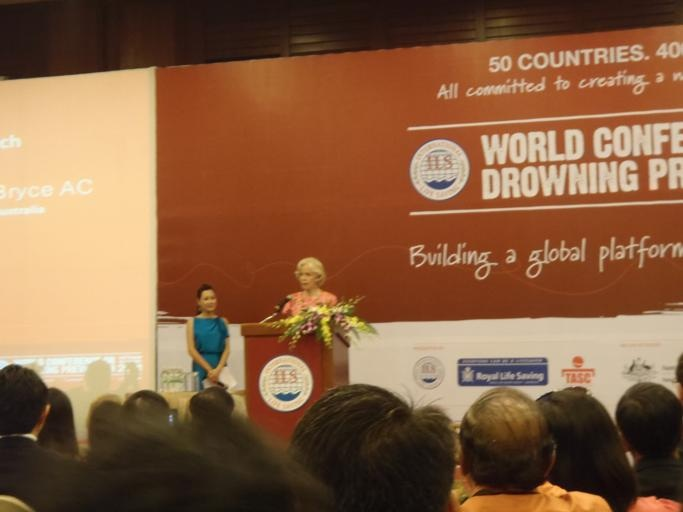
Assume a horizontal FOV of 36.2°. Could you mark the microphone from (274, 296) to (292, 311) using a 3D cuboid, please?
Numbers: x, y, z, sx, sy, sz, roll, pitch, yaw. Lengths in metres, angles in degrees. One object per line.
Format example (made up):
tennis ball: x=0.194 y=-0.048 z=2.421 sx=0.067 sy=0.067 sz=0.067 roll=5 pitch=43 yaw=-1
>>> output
microphone: x=-0.474 y=0.383 z=8.512 sx=0.067 sy=0.176 sz=0.052 roll=23 pitch=16 yaw=-44
